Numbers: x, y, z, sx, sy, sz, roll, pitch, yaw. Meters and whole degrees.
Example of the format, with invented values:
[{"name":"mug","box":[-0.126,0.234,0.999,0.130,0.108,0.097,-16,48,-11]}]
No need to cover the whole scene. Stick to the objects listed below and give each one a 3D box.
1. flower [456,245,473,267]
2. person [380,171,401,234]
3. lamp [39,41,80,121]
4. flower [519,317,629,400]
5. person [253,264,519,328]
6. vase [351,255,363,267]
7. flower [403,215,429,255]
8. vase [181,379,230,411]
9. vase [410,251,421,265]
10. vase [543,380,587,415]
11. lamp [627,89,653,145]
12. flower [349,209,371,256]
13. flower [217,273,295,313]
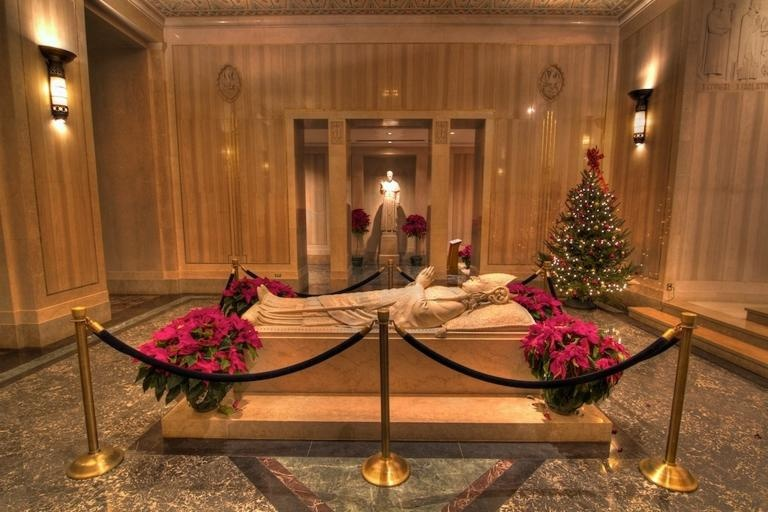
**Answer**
[{"name":"flower","box":[1.965,-0.007,12.297,0.628,0.515,0.484,2,-6,11]},{"name":"person","box":[0.134,-1.504,13.888,0.495,1.667,0.923,0,12,0]},{"name":"lamp","box":[-4.852,-2.585,7.629,0.438,1.082,0.190,-7,14,-26]},{"name":"flower","box":[2.277,1.071,6.061,1.146,0.678,1.117,8,11,34]},{"name":"person","box":[-0.078,0.602,6.673,3.503,0.688,1.152,-1,-1,1]},{"name":"vase","box":[-0.688,0.127,12.940,0.310,0.178,0.280,0,0,-9]},{"name":"flower","box":[0.830,-0.621,13.268,0.861,0.816,0.798,2,5,18]},{"name":"vase","box":[-2.050,1.616,5.876,0.496,0.280,0.449,2,2,3]},{"name":"vase","box":[0.785,0.101,12.935,0.287,0.217,0.260,1,-1,0]},{"name":"vase","box":[2.090,1.612,6.036,0.503,0.405,0.498,3,4,36]},{"name":"lamp","box":[4.483,-2.454,8.987,0.236,0.965,0.302,-7,14,-28]},{"name":"flower","box":[-0.640,-0.669,13.534,0.424,1.201,0.899,-1,12,-2]},{"name":"flower","box":[-2.024,0.536,7.424,0.905,0.406,0.822,3,14,25]}]
